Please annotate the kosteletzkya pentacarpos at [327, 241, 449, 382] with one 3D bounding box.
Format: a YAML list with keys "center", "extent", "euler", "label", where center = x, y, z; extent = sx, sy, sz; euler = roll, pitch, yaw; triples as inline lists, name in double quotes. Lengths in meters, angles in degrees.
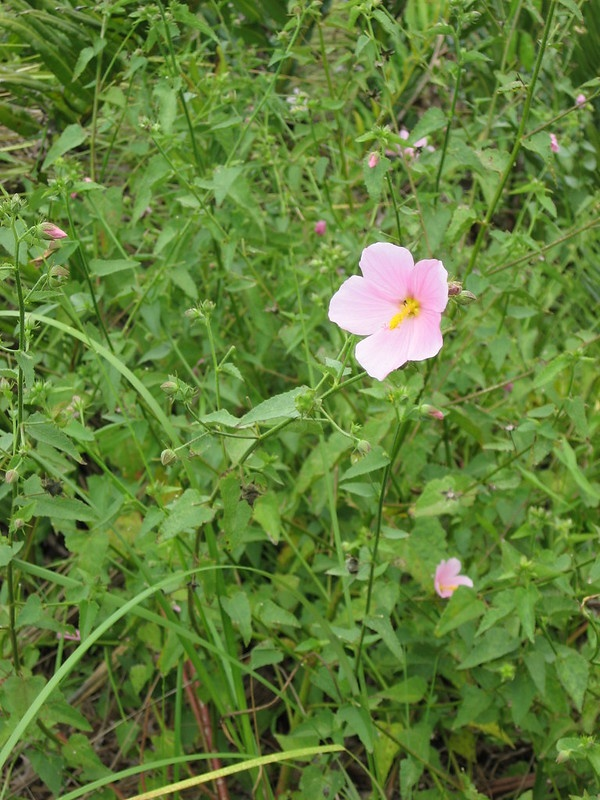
- center: [0.147, -0.144, 1.156]
  extent: [0.151, 0.187, 0.211]
  euler: [1, 38, -15]
  label: "kosteletzkya pentacarpos"

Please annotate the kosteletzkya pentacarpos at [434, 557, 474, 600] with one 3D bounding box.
- center: [0.277, 0.315, 1.337]
  extent: [0.077, 0.039, 0.076]
  euler: [12, 67, -6]
  label: "kosteletzkya pentacarpos"
